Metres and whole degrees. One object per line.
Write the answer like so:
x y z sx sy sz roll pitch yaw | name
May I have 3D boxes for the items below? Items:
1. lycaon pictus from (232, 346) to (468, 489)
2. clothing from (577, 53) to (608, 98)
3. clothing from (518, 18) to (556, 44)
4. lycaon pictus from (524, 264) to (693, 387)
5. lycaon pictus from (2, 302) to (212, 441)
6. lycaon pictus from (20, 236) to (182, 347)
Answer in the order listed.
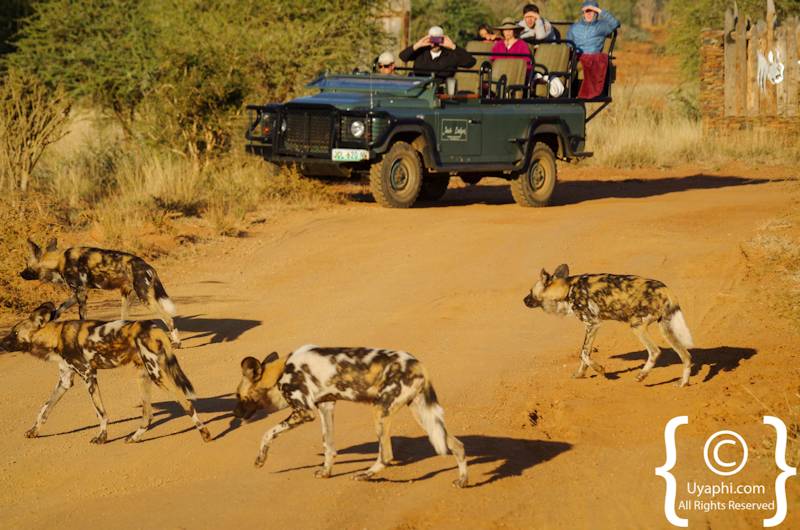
-0.596 1.654 10.189 2.563 1.516 0.603 -2 -4 9 | lycaon pictus
3.950 -3.847 19.132 0.786 0.867 0.317 -3 10 -18 | clothing
2.830 -4.834 19.512 0.661 0.385 0.909 10 23 23 | clothing
2.702 0.738 11.942 1.968 1.375 0.640 2 20 20 | lycaon pictus
-3.437 1.271 10.865 2.332 1.561 0.693 -1 19 14 | lycaon pictus
-4.169 0.352 13.054 2.115 1.485 0.531 2 7 -1 | lycaon pictus
